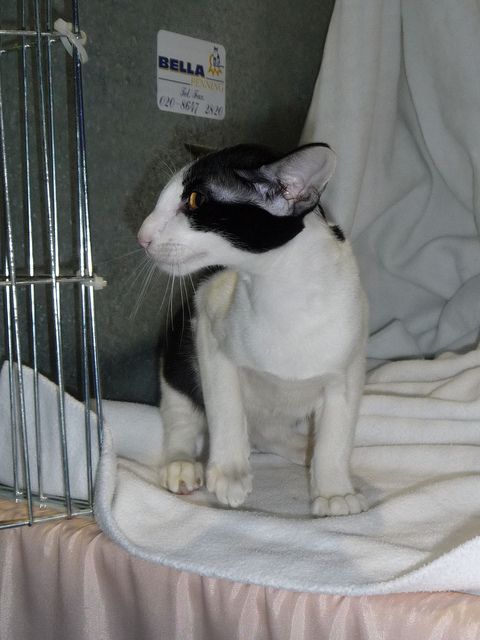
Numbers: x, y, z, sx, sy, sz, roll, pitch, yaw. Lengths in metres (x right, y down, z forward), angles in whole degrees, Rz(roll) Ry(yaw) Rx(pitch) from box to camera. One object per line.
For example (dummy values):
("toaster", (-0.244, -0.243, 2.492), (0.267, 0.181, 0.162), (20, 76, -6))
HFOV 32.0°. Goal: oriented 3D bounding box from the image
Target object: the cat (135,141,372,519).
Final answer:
("cat", (0.037, -0.006, 1.337), (0.340, 0.578, 0.481), (2, 15, 1))
